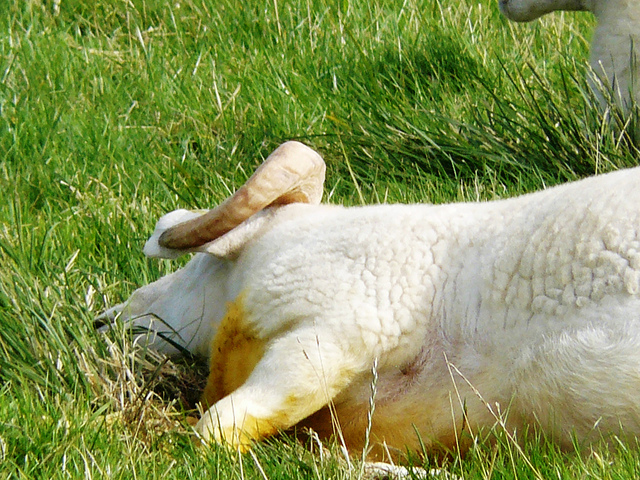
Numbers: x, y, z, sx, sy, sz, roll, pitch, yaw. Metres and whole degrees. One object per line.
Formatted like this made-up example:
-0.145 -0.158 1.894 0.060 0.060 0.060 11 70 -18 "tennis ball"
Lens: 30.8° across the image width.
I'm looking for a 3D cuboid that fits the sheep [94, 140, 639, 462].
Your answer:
0.275 0.405 4.223 2.059 0.789 1.339 -6 56 17 "sheep"
